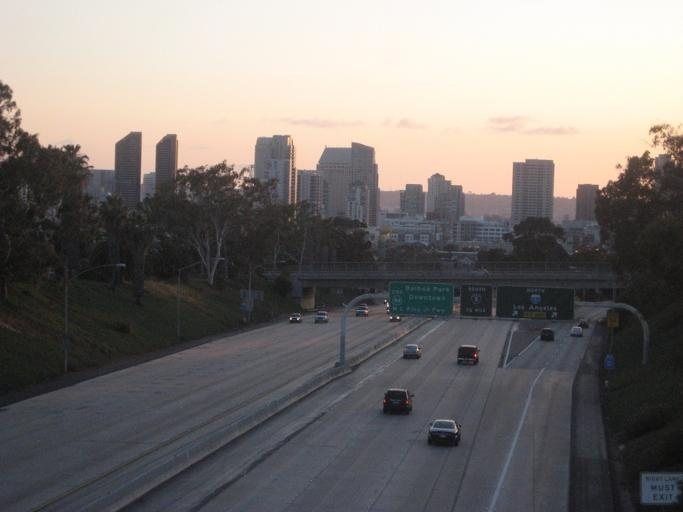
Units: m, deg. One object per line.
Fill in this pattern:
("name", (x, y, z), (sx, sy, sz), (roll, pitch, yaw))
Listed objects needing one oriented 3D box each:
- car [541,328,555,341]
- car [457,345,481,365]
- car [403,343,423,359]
("car", (24.685, 9.403, 103.433), (1.607, 1.051, 2.112), (1, 5, 11))
("car", (12.637, 9.793, 85.883), (1.882, 1.657, 1.918), (2, 6, 19))
("car", (7.342, 9.837, 89.466), (1.842, 1.229, 2.053), (-1, 5, -2))
